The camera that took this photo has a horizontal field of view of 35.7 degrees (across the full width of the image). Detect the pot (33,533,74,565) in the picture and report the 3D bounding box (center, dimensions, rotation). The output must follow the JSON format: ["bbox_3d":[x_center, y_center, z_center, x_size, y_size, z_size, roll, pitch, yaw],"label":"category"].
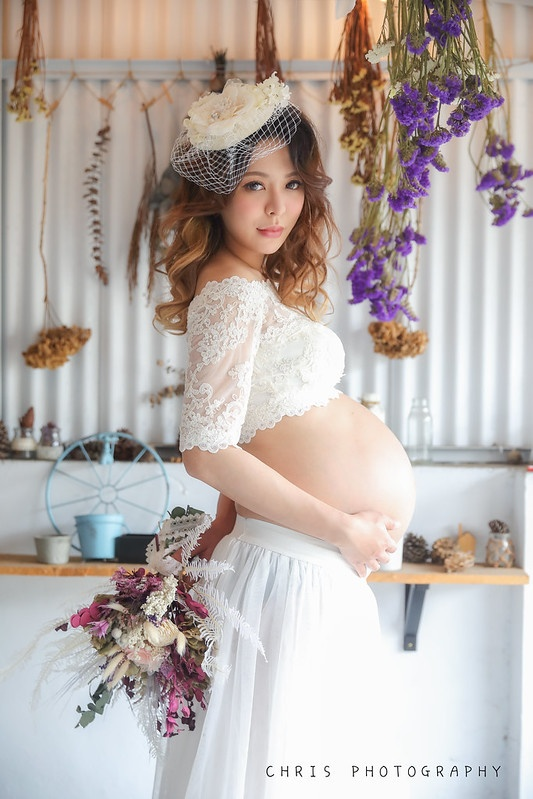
[{"bbox_3d":[-0.637,0.450,2.491,0.096,0.058,0.091,-1,-4,0],"label":"pot"}]

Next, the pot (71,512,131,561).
[{"bbox_3d":[-0.497,0.418,2.471,0.142,0.105,0.145,0,-10,0],"label":"pot"}]

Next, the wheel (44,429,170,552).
[{"bbox_3d":[-0.515,0.305,2.634,0.409,0.366,0.039,6,-2,-3],"label":"wheel"}]

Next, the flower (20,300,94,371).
[{"bbox_3d":[-0.696,-0.201,2.769,0.215,0.227,0.168,4,2,-11],"label":"flower"}]

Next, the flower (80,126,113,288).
[{"bbox_3d":[-0.569,-0.661,2.803,0.105,0.556,0.115,4,2,-13],"label":"flower"}]

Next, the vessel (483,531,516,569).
[{"bbox_3d":[0.707,0.460,2.487,0.104,0.090,0.092,-2,-3,24],"label":"vessel"}]

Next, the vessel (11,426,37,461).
[{"bbox_3d":[-0.795,0.150,2.724,0.082,0.096,0.101,3,-10,-18],"label":"vessel"}]

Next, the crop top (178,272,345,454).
[{"bbox_3d":[0.018,-0.048,1.423,0.262,0.327,0.431,-2,-1,12],"label":"crop top"}]
